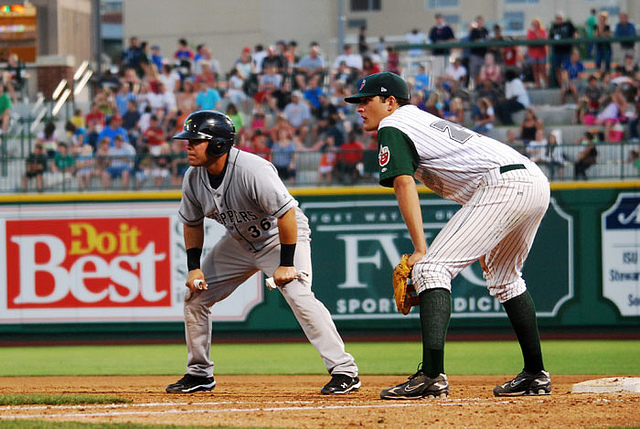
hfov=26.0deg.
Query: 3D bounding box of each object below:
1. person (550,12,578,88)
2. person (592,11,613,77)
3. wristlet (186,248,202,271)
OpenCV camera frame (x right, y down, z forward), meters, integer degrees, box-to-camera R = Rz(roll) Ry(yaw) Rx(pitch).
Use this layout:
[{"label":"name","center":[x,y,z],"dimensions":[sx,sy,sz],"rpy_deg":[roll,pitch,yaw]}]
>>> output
[{"label":"person","center":[3.636,-2.461,20.608],"dimensions":[0.404,1.039,0.494],"rpy_deg":[-2,5,10]},{"label":"person","center":[4.173,-2.549,20.409],"dimensions":[0.275,0.888,0.475],"rpy_deg":[-2,5,13]},{"label":"wristlet","center":[-1.677,0.593,18.107],"dimensions":[0.182,0.287,0.146],"rpy_deg":[-3,5,-5]}]
